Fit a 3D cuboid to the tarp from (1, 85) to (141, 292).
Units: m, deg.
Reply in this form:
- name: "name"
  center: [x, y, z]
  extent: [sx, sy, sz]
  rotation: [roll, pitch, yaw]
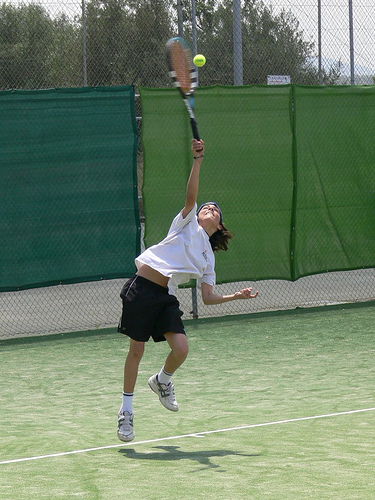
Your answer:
- name: "tarp"
  center: [-1.122, -0.626, 5.753]
  extent: [1.380, 1.949, 0.212]
  rotation: [-3, 9, -25]

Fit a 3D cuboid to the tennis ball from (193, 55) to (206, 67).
- name: "tennis ball"
  center: [0.096, -1.324, 4.220]
  extent: [0.093, 0.090, 0.087]
  rotation: [0, 52, 1]

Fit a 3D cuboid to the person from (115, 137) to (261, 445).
- name: "person"
  center: [-0.016, 0.183, 4.442]
  extent: [0.838, 2.455, 1.063]
  rotation: [-17, -37, 33]
